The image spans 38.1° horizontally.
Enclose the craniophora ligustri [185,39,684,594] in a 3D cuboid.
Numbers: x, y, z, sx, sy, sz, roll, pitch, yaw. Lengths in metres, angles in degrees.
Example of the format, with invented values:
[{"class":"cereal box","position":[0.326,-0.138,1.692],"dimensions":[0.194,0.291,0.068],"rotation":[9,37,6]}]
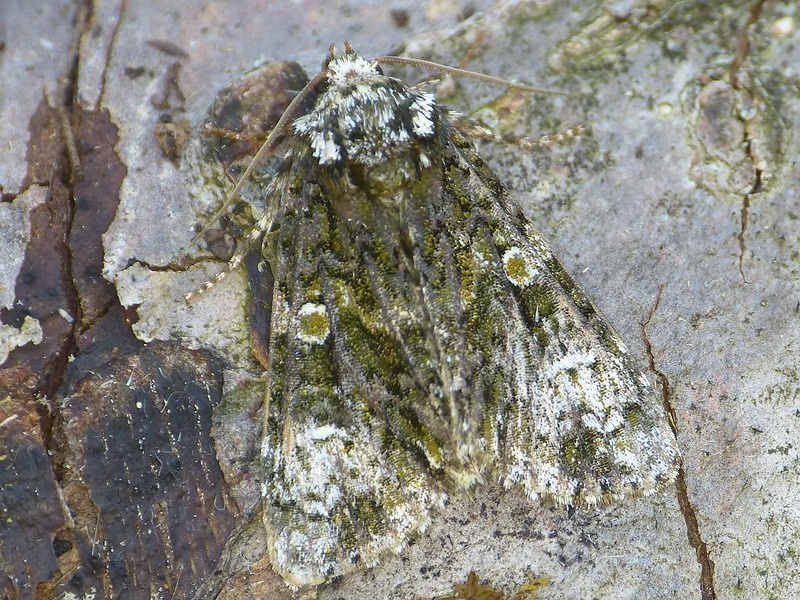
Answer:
[{"class":"craniophora ligustri","position":[0.076,0.022,8.374],"dimensions":[2.735,0.993,3.776],"rotation":[-7,63,-20]}]
